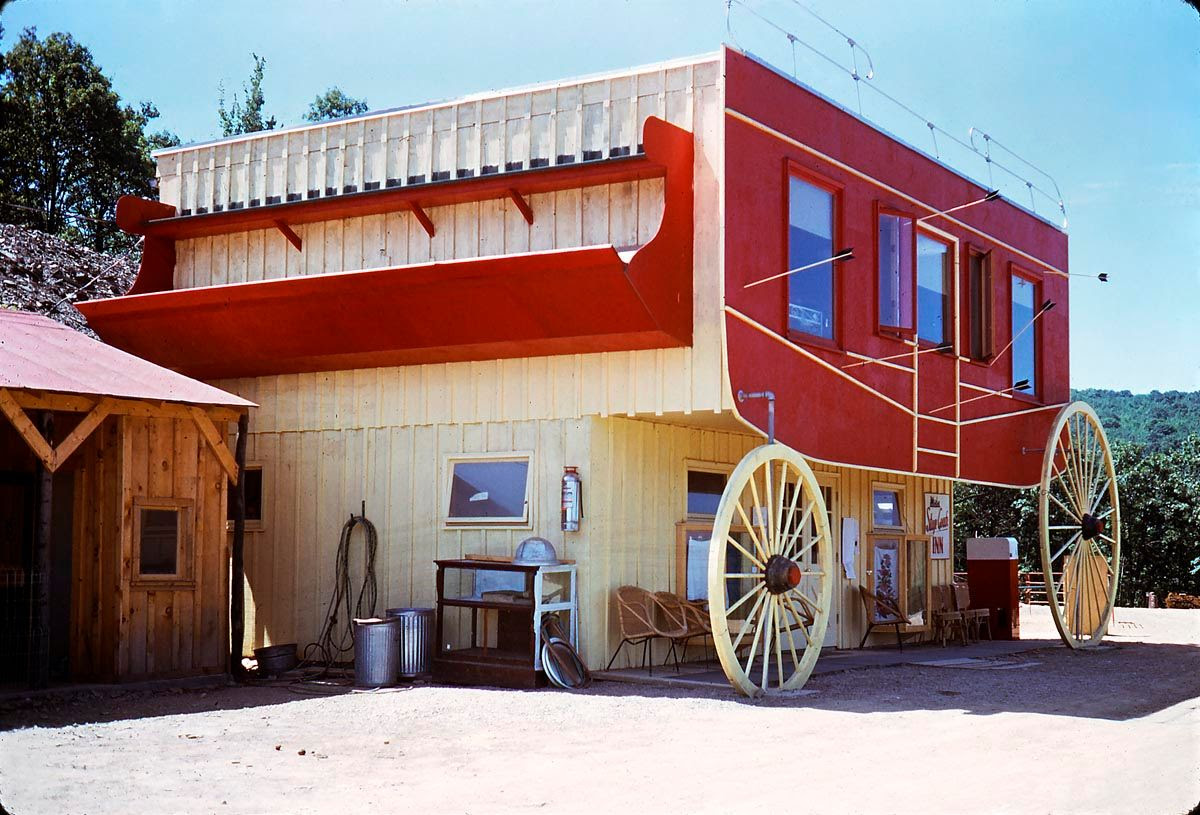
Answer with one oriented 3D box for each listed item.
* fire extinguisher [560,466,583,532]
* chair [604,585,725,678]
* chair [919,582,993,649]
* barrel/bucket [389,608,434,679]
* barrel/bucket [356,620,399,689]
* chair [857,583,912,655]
[{"bbox_3d":[-0.374,1.195,15.947,0.306,0.850,0.170,0,-2,8],"label":"fire extinguisher"},{"bbox_3d":[0.866,2.963,16.370,0.725,1.148,1.646,-1,-3,41],"label":"chair"},{"bbox_3d":[6.249,3.642,21.450,0.655,1.017,1.699,-1,-3,40],"label":"chair"},{"bbox_3d":[-2.619,3.072,16.370,0.644,1.068,1.005,-1,-6,10],"label":"barrel/bucket"},{"bbox_3d":[-3.009,3.233,16.055,0.569,0.927,0.691,1,0,24],"label":"barrel/bucket"},{"bbox_3d":[4.678,3.466,20.174,0.643,0.955,0.715,-4,-3,22],"label":"chair"}]
